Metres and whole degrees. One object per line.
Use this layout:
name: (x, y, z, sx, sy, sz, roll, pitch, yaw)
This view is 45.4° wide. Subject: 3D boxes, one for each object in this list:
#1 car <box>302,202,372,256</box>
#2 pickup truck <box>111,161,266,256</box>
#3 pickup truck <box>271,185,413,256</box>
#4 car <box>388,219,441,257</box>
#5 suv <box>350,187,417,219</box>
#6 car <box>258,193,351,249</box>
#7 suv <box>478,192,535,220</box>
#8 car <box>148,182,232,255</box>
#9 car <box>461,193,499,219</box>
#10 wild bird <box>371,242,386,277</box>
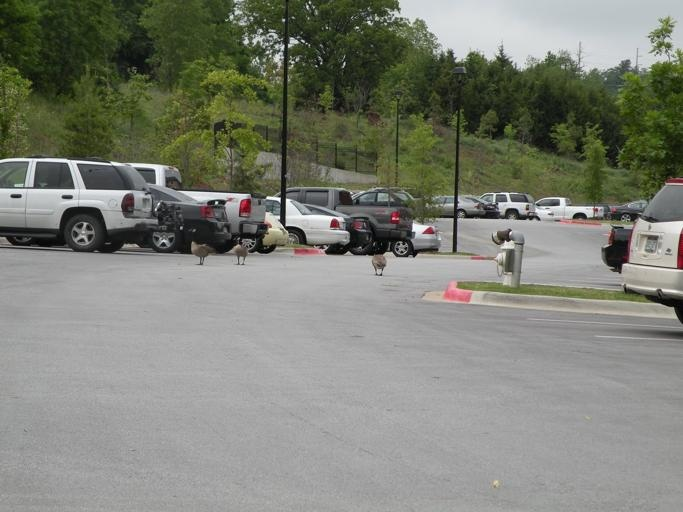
car: (-0.306, -0.877, 27.693, 2.478, 1.153, 1.261, 1, -2, 17)
pickup truck: (-4.287, -1.503, 24.410, 4.745, 1.992, 2.116, 5, 0, 13)
pickup truck: (0.046, -1.347, 29.239, 5.022, 1.943, 2.190, 4, 2, 25)
car: (2.663, -0.580, 29.031, 1.950, 0.831, 0.957, 2, -1, 0)
suv: (1.579, -2.357, 31.747, 2.667, 1.422, 1.611, 5, 6, 21)
car: (-1.129, -1.198, 26.817, 2.712, 1.075, 1.382, 4, 0, 15)
suv: (12.111, -3.679, 58.605, 3.498, 1.688, 1.776, 5, 2, 16)
car: (-3.944, -0.965, 22.227, 2.545, 1.077, 1.300, 4, -1, 10)
car: (9.690, -3.453, 57.060, 2.615, 0.943, 1.243, 6, 5, 27)
wild bird: (0.901, 0.070, 20.111, 0.272, 0.661, 1.177, -2, 19, -7)
